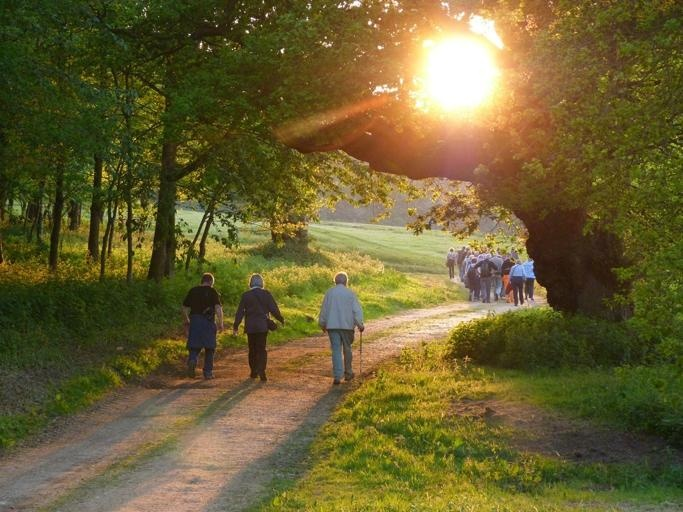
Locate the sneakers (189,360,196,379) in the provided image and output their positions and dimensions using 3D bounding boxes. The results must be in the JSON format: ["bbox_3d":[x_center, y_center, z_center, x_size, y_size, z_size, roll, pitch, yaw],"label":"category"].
[{"bbox_3d":[-3.414,2.686,18.163,0.138,0.379,0.154,2,-3,-6],"label":"sneakers"}]

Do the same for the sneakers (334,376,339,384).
[{"bbox_3d":[-0.043,2.862,17.567,0.154,0.137,0.150,-2,10,-10],"label":"sneakers"}]

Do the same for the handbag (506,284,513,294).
[{"bbox_3d":[8.103,1.638,37.252,0.249,0.643,0.927,2,10,12],"label":"handbag"}]

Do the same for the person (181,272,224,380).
[{"bbox_3d":[-3.216,1.731,18.369,0.864,2.494,1.025,-3,10,-13],"label":"person"}]

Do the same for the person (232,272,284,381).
[{"bbox_3d":[-1.914,1.753,18.268,1.092,2.496,1.369,-1,10,-4],"label":"person"}]

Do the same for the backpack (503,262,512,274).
[{"bbox_3d":[8.250,0.594,38.409,0.325,0.749,0.966,0,10,3],"label":"backpack"}]

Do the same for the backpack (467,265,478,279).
[{"bbox_3d":[6.582,0.768,38.564,0.477,0.914,0.781,-6,-7,29],"label":"backpack"}]

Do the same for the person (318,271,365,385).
[{"bbox_3d":[0.028,1.834,17.877,0.958,2.172,0.885,-1,10,-3],"label":"person"}]
